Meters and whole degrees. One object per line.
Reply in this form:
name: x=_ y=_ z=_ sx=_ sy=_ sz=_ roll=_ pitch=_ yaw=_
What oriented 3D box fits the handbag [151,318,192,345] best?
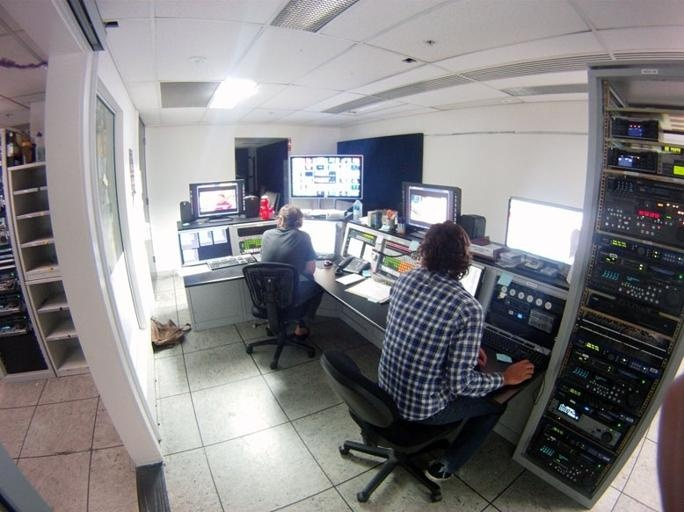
handbag: x=-1.770 y=0.793 z=4.787 sx=0.382 sy=0.181 sz=0.367 roll=-5 pitch=13 yaw=-20

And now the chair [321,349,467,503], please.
chair: x=0.393 y=1.120 z=3.225 sx=0.912 sy=1.048 sz=0.837 roll=-10 pitch=21 yaw=-27

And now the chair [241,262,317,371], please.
chair: x=-0.591 y=0.495 z=4.406 sx=0.712 sy=0.939 sz=0.658 roll=1 pitch=8 yaw=4

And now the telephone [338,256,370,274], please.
telephone: x=0.131 y=0.094 z=4.583 sx=0.314 sy=0.122 sz=0.245 roll=1 pitch=13 yaw=4

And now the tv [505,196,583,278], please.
tv: x=1.500 y=-0.119 z=3.431 sx=0.786 sy=0.560 sz=0.212 roll=9 pitch=-4 yaw=-21

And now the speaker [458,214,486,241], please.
speaker: x=1.030 y=-0.223 z=3.665 sx=0.159 sy=0.310 sz=0.174 roll=-10 pitch=17 yaw=-31

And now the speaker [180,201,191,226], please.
speaker: x=-1.747 y=-0.480 z=5.150 sx=0.116 sy=0.230 sz=0.198 roll=-2 pitch=13 yaw=-9

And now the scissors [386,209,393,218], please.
scissors: x=0.471 y=-0.413 z=4.504 sx=0.056 sy=0.077 sz=0.025 roll=6 pitch=5 yaw=6

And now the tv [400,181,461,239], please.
tv: x=0.748 y=-0.385 z=4.085 sx=0.637 sy=0.456 sz=0.137 roll=-1 pitch=9 yaw=-34

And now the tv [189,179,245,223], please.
tv: x=-1.449 y=-0.660 z=5.408 sx=0.647 sy=0.426 sz=0.217 roll=-6 pitch=14 yaw=-25

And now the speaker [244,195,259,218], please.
speaker: x=-1.069 y=-0.571 z=5.442 sx=0.178 sy=0.301 sz=0.166 roll=-6 pitch=27 yaw=-22

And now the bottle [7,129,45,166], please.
bottle: x=-2.761 y=-0.921 z=3.948 sx=0.135 sy=0.294 sz=0.292 roll=4 pitch=13 yaw=16

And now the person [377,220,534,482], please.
person: x=0.756 y=0.759 z=3.233 sx=1.004 sy=1.850 sz=0.890 roll=-6 pitch=17 yaw=-20
